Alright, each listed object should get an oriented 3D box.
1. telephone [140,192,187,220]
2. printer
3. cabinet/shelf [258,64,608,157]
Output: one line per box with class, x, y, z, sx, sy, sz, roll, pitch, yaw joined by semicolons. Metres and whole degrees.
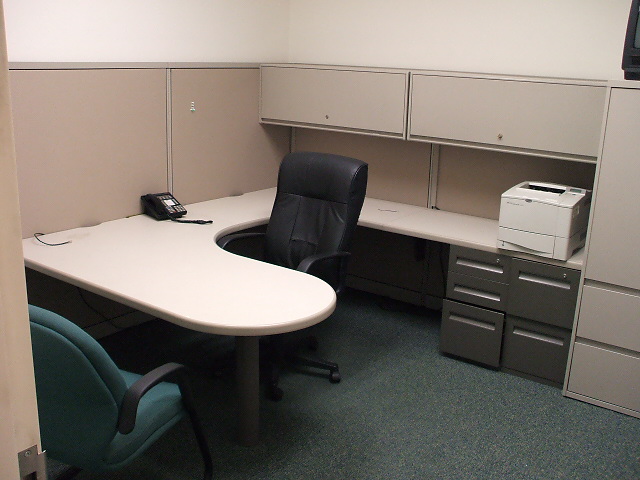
telephone;-1.002;-0.222;3.057;0.236;0.105;0.179;30;38;34
printer;1.305;-0.142;2.809;0.420;0.418;0.450;13;24;34
cabinet/shelf;0.625;-0.873;3.153;2.172;0.464;0.127;15;27;27
